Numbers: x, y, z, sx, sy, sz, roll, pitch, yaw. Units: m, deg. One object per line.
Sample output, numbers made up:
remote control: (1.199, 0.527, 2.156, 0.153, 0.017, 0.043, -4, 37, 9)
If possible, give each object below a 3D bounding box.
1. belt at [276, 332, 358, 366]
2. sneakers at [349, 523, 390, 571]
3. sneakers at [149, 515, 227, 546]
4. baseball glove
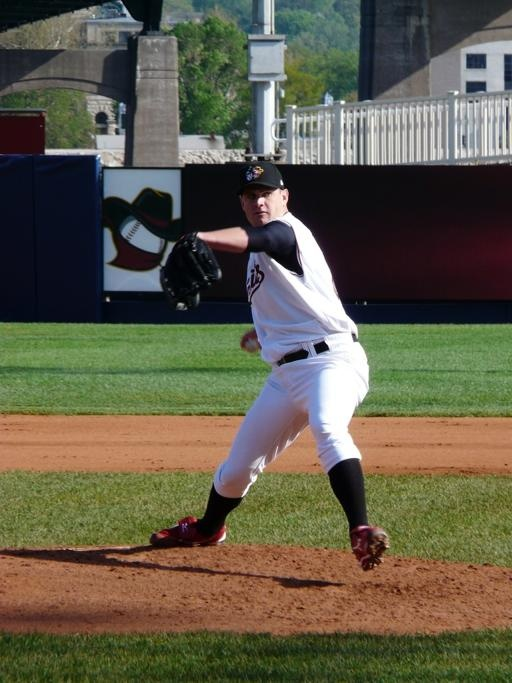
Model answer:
belt: (0.302, 0.045, 7.814, 0.206, 0.051, 0.195, -28, -2, -23)
sneakers: (0.574, 1.068, 7.639, 0.191, 0.251, 0.165, 1, 4, 3)
sneakers: (-0.392, 1.073, 8.517, 0.440, 0.203, 0.167, 1, -1, -3)
baseball glove: (-0.345, -0.342, 7.491, 0.157, 0.291, 0.378, -5, -33, -45)
